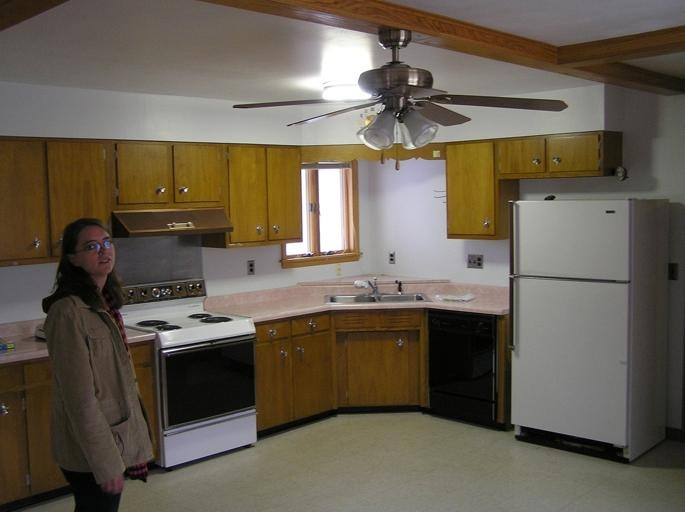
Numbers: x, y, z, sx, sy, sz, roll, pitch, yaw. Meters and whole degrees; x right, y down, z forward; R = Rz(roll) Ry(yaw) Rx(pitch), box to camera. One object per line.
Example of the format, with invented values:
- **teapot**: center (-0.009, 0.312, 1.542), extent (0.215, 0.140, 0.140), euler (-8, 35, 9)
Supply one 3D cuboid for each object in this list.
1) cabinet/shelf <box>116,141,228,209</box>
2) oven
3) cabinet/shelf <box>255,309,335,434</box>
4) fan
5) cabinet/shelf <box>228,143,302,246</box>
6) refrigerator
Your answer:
- **cabinet/shelf**: center (-1.464, -0.704, 4.695), extent (0.933, 0.575, 0.537), euler (-1, 0, -34)
- **oven**: center (-1.128, 1.095, 4.786), extent (0.866, 1.280, 0.988), euler (-2, 0, 45)
- **cabinet/shelf**: center (-0.450, 1.069, 4.946), extent (0.557, 1.036, 1.089), euler (-2, -1, 44)
- **fan**: center (0.448, -0.806, 2.620), extent (0.852, 0.256, 0.927), euler (1, 5, 21)
- **cabinet/shelf**: center (-0.757, -0.601, 5.213), extent (0.472, 0.962, 0.999), euler (-2, -3, 41)
- **refrigerator**: center (2.058, 0.583, 4.482), extent (1.276, 2.090, 0.609), euler (1, 6, 15)
